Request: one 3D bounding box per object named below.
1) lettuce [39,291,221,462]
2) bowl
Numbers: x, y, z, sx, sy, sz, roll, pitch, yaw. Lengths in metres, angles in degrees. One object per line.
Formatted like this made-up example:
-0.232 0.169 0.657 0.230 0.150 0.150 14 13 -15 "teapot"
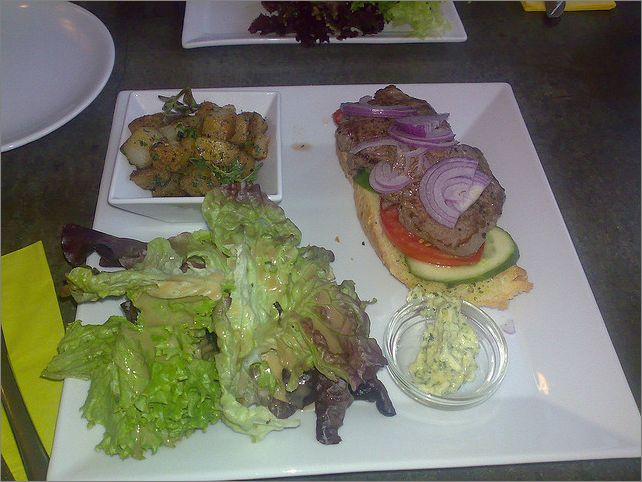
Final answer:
-0.931 0.690 2.636 0.851 0.367 0.755 -5 65 -1 "lettuce"
0.707 0.630 2.947 0.690 0.128 0.620 -1 65 0 "bowl"
